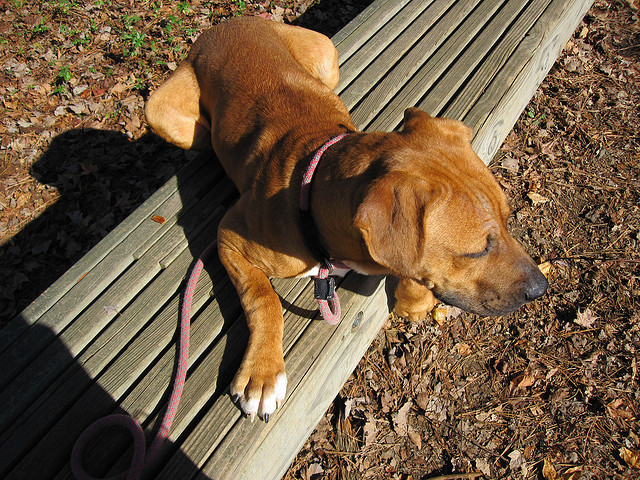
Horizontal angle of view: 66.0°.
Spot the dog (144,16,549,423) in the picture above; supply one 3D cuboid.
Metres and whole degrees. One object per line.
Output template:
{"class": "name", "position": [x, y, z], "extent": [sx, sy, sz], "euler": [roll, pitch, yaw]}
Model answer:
{"class": "dog", "position": [-0.234, -0.569, 3.749], "extent": [2.092, 1.728, 3.448], "euler": [-24, 64, -28]}
